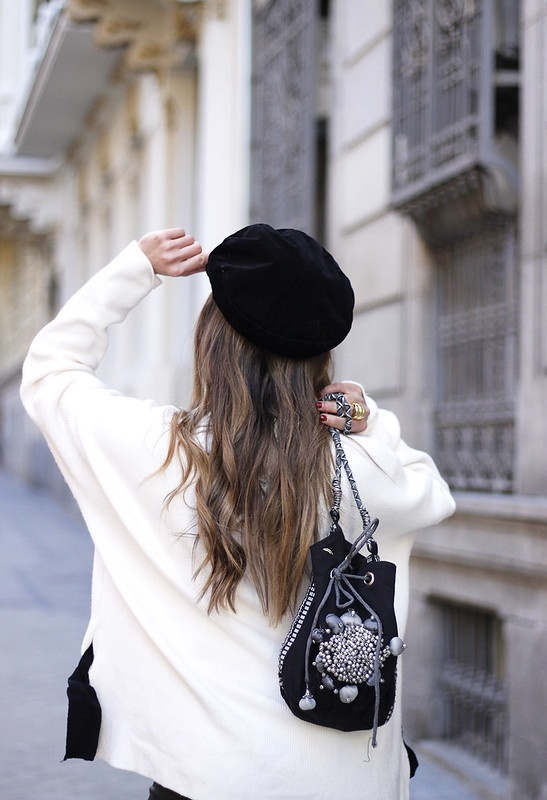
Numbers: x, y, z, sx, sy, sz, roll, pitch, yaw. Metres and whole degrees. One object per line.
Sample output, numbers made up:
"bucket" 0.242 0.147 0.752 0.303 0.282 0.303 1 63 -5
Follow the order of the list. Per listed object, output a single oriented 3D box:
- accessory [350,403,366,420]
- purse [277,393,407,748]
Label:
"accessory" 0.216 0.033 3.334 0.022 0.042 0.037 -9 16 28
"purse" 0.181 0.466 3.206 0.249 0.774 0.215 1 0 40
